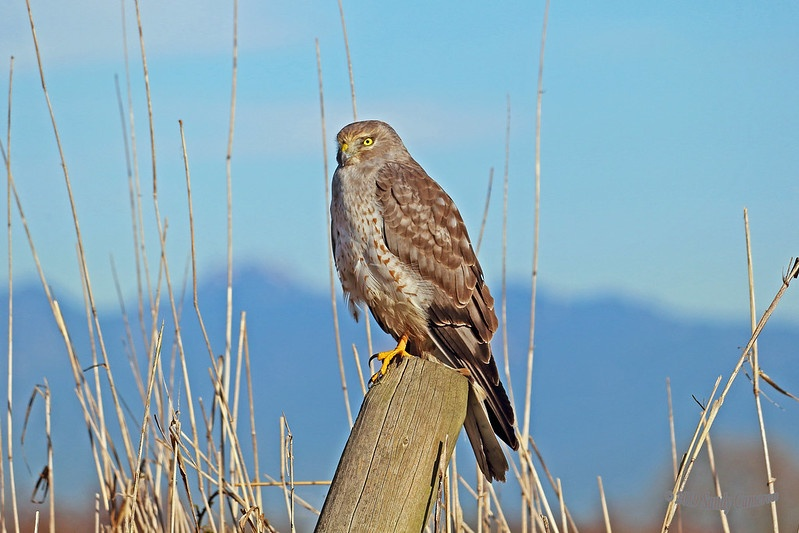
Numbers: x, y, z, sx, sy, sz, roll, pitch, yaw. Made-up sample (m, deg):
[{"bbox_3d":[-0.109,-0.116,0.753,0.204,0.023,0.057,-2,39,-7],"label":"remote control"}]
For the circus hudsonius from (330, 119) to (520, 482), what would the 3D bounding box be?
[{"bbox_3d":[0.111,0.316,9.604,1.189,2.176,0.593,5,-34,-4],"label":"circus hudsonius"}]
